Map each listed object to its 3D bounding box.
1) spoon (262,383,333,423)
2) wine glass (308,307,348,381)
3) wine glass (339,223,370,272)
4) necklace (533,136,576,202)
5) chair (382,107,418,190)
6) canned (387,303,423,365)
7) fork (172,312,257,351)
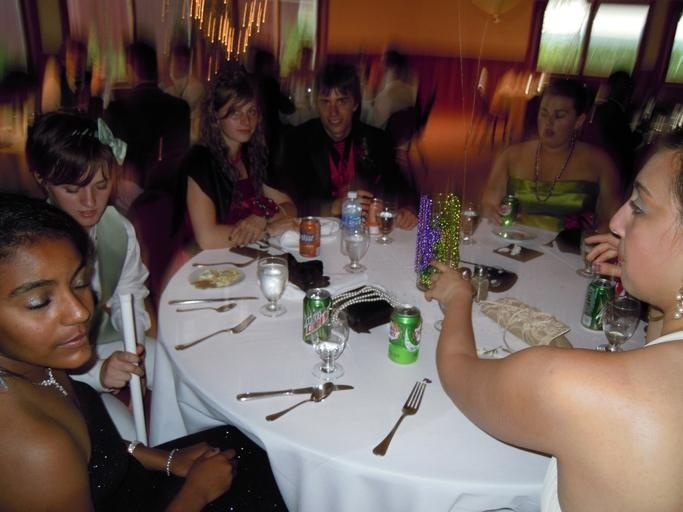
[{"bbox_3d":[-0.140,0.477,1.549,0.194,0.034,0.039,-16,31,-39],"label":"spoon"},{"bbox_3d":[-0.050,0.316,1.719,0.138,0.213,0.127,-15,35,-29],"label":"wine glass"},{"bbox_3d":[0.061,-0.039,2.414,0.148,0.239,0.140,-11,32,-19],"label":"wine glass"},{"bbox_3d":[1.710,-0.701,3.852,0.144,0.500,0.479,6,0,11],"label":"necklace"},{"bbox_3d":[0.877,-1.676,6.933,0.405,1.269,0.906,-6,1,10],"label":"chair"},{"bbox_3d":[0.225,0.285,1.716,0.112,0.208,0.115,16,30,31],"label":"canned"},{"bbox_3d":[-0.494,0.296,1.870,0.213,0.034,0.038,-19,41,-19],"label":"fork"}]
